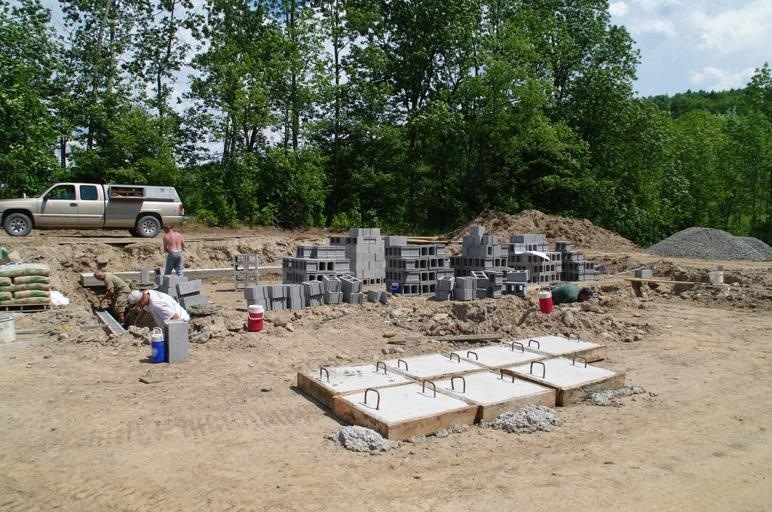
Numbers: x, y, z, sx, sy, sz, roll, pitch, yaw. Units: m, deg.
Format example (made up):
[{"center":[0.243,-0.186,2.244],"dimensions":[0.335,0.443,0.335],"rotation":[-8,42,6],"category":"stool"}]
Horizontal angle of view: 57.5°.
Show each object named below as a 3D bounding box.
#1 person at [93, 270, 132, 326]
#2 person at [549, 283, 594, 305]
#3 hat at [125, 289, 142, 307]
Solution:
[{"center":[-9.614,1.569,24.677],"dimensions":[1.252,2.013,0.889],"rotation":[-5,35,-4],"category":"person"},{"center":[6.598,1.371,24.964],"dimensions":[1.146,0.369,0.801],"rotation":[-2,6,-2],"category":"person"},{"center":[-7.701,1.325,21.793],"dimensions":[0.585,0.522,0.334],"rotation":[-10,-30,40],"category":"hat"}]
